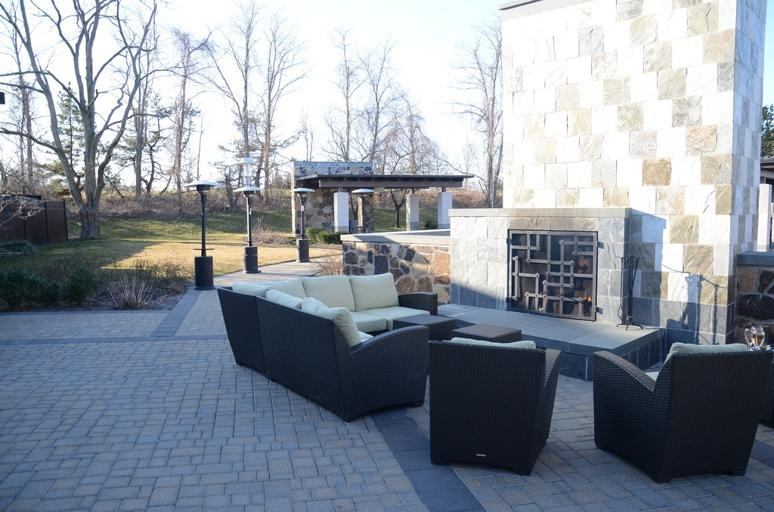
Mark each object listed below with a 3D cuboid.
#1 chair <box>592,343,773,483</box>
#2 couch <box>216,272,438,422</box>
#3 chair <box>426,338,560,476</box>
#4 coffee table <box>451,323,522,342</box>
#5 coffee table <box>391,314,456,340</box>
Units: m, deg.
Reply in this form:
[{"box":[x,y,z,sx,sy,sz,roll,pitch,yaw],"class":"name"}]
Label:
[{"box":[3.215,1.663,6.743,1.300,1.693,1.776,0,2,-9],"class":"chair"},{"box":[-0.230,1.104,8.230,2.268,0.996,2.347,3,6,41],"class":"couch"},{"box":[1.246,1.642,6.741,1.269,1.509,1.479,1,2,20],"class":"chair"},{"box":[1.490,1.118,8.242,0.440,0.275,0.446,-1,-2,33],"class":"coffee table"},{"box":[0.653,1.028,8.495,0.495,0.317,0.513,4,6,44],"class":"coffee table"}]
